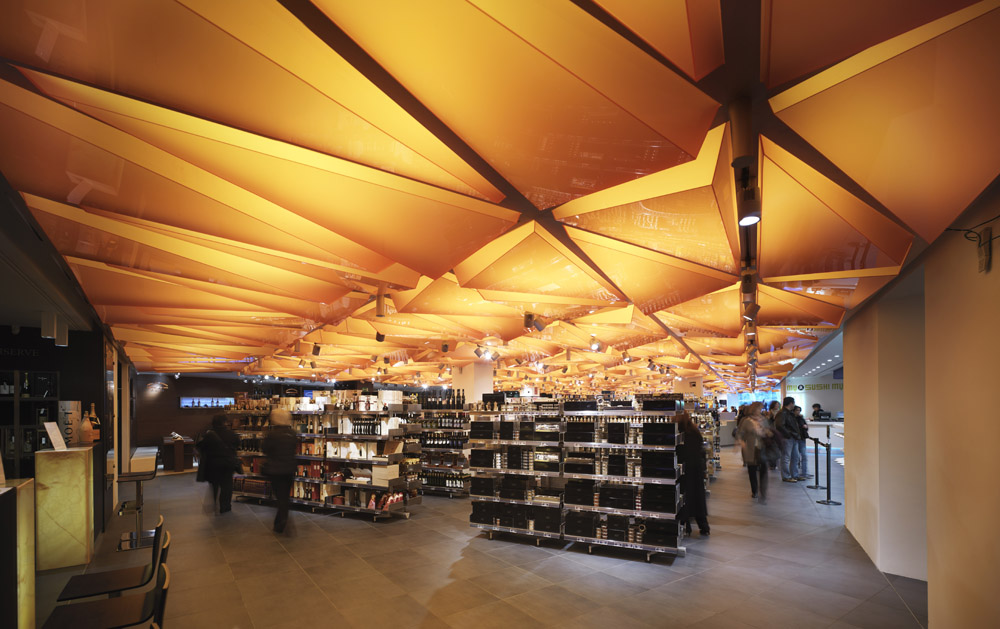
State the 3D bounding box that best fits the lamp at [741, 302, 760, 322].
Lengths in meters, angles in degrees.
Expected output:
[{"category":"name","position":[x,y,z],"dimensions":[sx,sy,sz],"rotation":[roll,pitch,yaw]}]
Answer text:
[{"category":"lamp","position":[4.182,-0.076,10.284],"dimensions":[0.225,0.292,0.203],"rotation":[18,-53,-7]}]
